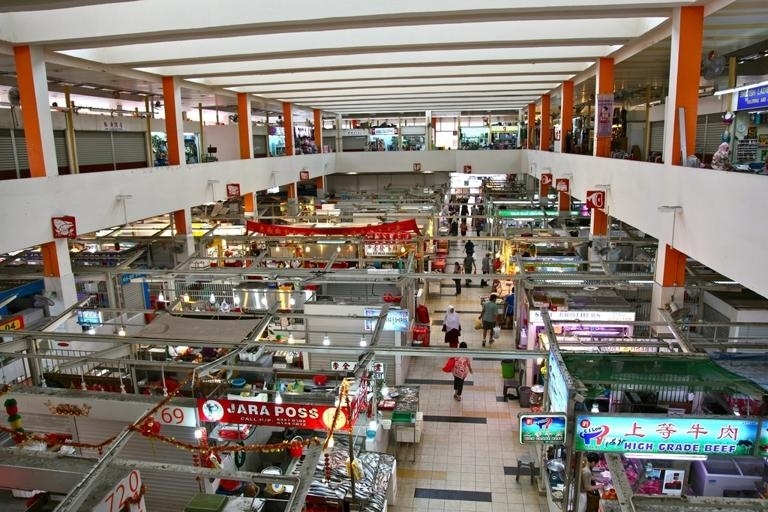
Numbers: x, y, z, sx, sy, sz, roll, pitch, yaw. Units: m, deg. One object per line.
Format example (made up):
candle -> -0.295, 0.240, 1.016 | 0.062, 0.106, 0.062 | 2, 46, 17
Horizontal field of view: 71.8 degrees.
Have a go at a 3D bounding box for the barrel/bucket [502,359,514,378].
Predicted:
barrel/bucket -> 3.006, 2.750, 12.912 | 0.410, 0.325, 0.430 | 1, 2, 0

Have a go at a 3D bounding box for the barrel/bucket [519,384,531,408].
barrel/bucket -> 3.099, 3.139, 11.772 | 0.240, 0.465, 0.193 | 0, 13, -3

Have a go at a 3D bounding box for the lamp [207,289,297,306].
lamp -> -3.393, 1.128, 13.834 | 1.969, 0.444, 0.905 | 0, 3, 0

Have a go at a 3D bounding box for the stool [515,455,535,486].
stool -> 2.666, 3.981, 9.930 | 0.429, 0.457, 0.438 | 0, 8, 6

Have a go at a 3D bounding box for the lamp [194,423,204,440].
lamp -> -2.859, 2.744, 8.260 | 0.148, 0.283, 0.149 | -3, 13, -13

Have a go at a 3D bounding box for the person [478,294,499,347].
person -> 2.868, 1.716, 14.523 | 0.537, 1.400, 0.479 | 8, 14, 7

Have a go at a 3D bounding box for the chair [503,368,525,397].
chair -> 3.053, 2.828, 12.530 | 0.458, 0.730, 0.940 | 3, 13, 13

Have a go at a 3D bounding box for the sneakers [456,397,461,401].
sneakers -> 1.719, 3.264, 12.179 | 0.048, 0.095, 0.145 | -6, 22, 23

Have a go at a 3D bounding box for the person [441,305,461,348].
person -> 1.697, 1.818, 13.325 | 0.365, 1.323, 1.116 | 2, 13, 8
